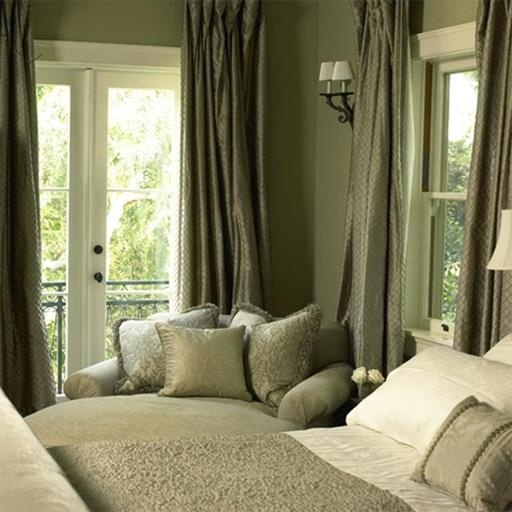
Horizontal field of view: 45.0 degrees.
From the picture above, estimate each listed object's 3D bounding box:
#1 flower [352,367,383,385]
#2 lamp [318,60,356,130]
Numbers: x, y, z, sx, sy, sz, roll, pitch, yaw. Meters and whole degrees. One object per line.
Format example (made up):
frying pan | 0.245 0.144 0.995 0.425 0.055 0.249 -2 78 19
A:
flower | 0.533 0.579 2.962 0.091 0.073 0.102 -9 -32 21
lamp | 0.470 -0.897 3.478 0.164 0.377 0.214 -11 17 -21
